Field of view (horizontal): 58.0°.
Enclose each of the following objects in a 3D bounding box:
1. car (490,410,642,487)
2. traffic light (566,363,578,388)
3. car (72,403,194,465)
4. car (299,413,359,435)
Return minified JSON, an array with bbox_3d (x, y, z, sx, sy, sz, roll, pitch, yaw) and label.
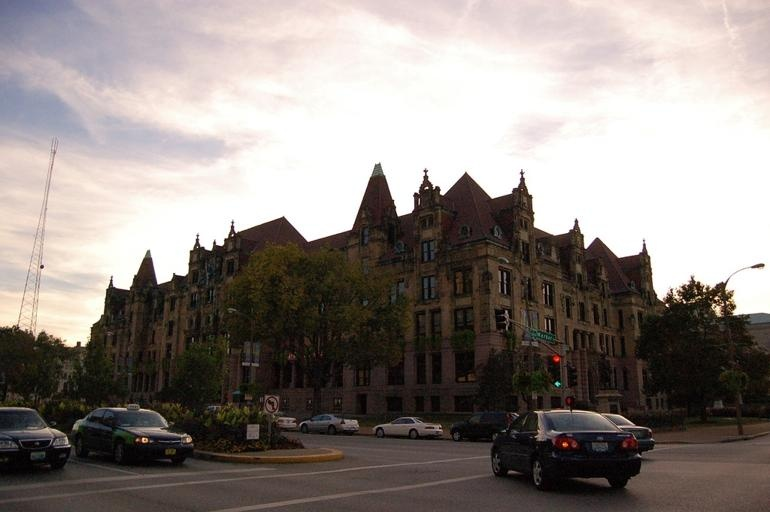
[{"bbox_3d":[6.591,7.000,25.366,4.971,2.807,2.145,-6,-20,20],"label":"car"},{"bbox_3d":[10.346,6.602,38.639,0.458,1.178,1.951,-5,-19,17],"label":"traffic light"},{"bbox_3d":[-11.056,7.777,30.261,5.176,2.368,1.900,-10,-22,30],"label":"car"},{"bbox_3d":[-4.240,12.422,51.672,4.324,1.598,1.288,-10,-22,30],"label":"car"}]
